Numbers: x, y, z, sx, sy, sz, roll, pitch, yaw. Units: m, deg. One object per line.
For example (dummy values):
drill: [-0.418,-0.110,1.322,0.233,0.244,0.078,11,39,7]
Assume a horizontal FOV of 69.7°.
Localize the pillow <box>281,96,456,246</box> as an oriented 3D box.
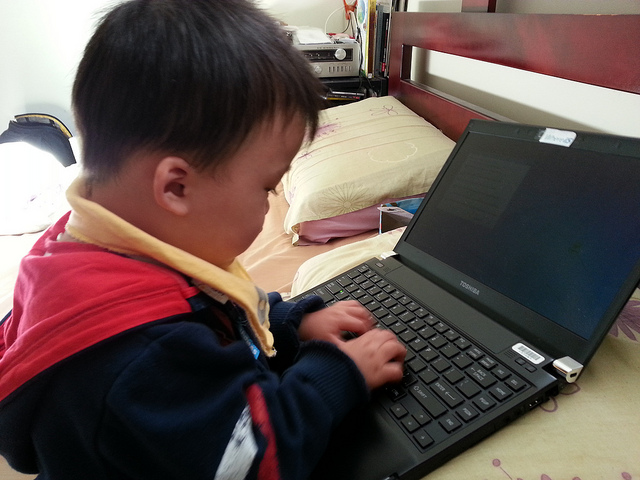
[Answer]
pillow: [0.174,-0.121,1.510,0.507,0.142,0.509,-23,45,4]
